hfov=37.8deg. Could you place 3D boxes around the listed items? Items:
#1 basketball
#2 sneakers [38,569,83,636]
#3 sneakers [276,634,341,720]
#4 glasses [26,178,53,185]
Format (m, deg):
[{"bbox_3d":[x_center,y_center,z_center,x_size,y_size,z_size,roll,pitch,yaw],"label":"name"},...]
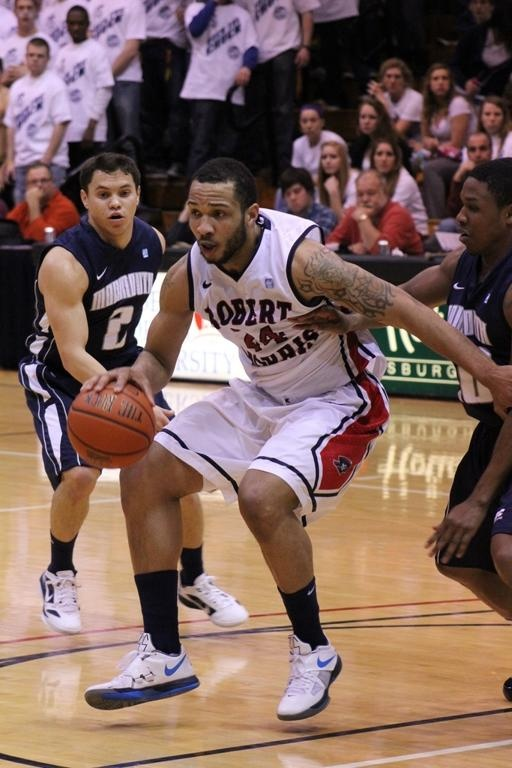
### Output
[{"bbox_3d":[-0.330,0.099,1.812,0.219,0.191,0.200,-7,-8,19],"label":"basketball"},{"bbox_3d":[-0.632,0.701,2.409,0.095,0.107,0.249,1,12,-21],"label":"sneakers"},{"bbox_3d":[0.117,0.640,1.621,0.106,0.162,0.192,2,7,12],"label":"sneakers"},{"bbox_3d":[-2.170,-2.037,7.531,0.109,0.026,0.107,-1,1,-29],"label":"glasses"}]
